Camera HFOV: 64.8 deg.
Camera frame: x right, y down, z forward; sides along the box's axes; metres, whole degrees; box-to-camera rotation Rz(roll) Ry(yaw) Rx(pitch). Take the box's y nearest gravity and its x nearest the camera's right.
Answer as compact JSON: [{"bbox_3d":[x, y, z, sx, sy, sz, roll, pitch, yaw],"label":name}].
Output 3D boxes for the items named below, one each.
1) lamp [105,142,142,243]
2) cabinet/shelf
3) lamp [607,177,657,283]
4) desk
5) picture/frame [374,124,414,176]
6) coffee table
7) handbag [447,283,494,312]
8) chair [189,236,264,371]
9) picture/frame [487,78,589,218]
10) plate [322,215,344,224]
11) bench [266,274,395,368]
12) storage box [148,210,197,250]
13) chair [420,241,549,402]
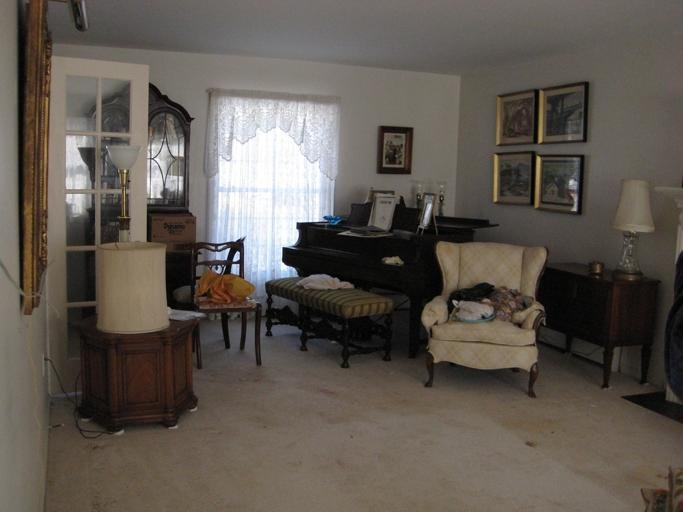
[{"bbox_3d":[-1.561,-0.431,3.892,0.192,0.734,0.713,-3,11,-22],"label":"lamp"},{"bbox_3d":[-2.113,-0.546,6.419,0.824,2.978,0.812,22,25,28],"label":"cabinet/shelf"},{"bbox_3d":[2.588,-0.242,4.759,0.311,0.851,0.477,7,11,30],"label":"lamp"},{"bbox_3d":[2.404,0.623,5.165,0.573,0.881,1.010,2,5,-18],"label":"desk"},{"bbox_3d":[0.639,-1.383,6.885,0.640,0.817,0.056,0,6,-20],"label":"picture/frame"},{"bbox_3d":[-1.422,0.719,3.840,0.759,0.609,0.752,1,3,1],"label":"coffee table"},{"bbox_3d":[1.160,0.323,4.869,0.337,0.127,0.268,-15,5,-25],"label":"handbag"},{"bbox_3d":[-1.099,0.440,5.087,0.721,1.099,0.824,-1,4,-2],"label":"chair"},{"bbox_3d":[2.172,-1.189,5.953,0.095,1.328,1.270,-4,11,-28],"label":"picture/frame"},{"bbox_3d":[-0.102,-0.423,6.301,0.215,0.083,0.255,5,11,17],"label":"plate"},{"bbox_3d":[-0.182,0.657,5.725,0.575,0.705,1.573,-4,8,-34],"label":"bench"},{"bbox_3d":[-1.846,-0.282,5.810,0.481,0.434,0.267,-1,20,-33],"label":"storage box"},{"bbox_3d":[1.308,0.530,4.877,1.001,1.301,1.065,2,3,22],"label":"chair"}]
